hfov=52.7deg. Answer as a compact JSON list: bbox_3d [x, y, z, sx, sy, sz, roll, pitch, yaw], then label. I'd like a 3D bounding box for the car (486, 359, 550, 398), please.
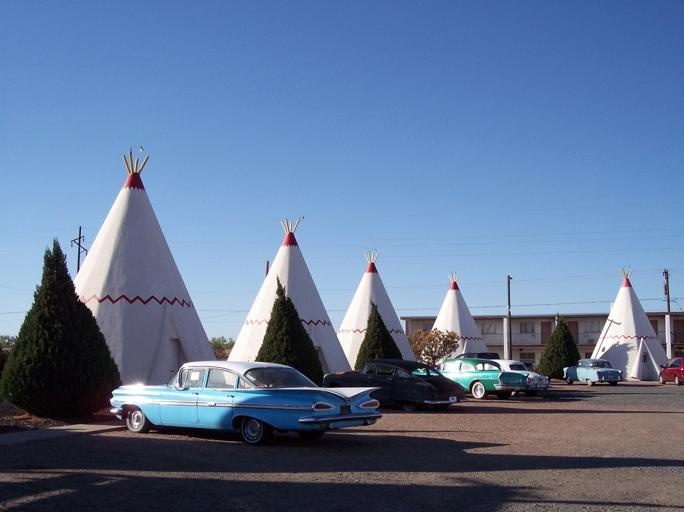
[{"bbox_3d":[5.929,4.175,22.659,1.902,1.484,2.561,-3,-6,28],"label":"car"}]
